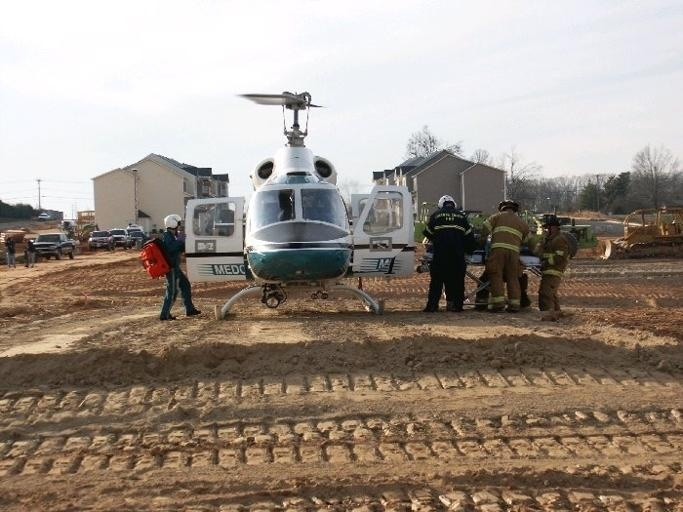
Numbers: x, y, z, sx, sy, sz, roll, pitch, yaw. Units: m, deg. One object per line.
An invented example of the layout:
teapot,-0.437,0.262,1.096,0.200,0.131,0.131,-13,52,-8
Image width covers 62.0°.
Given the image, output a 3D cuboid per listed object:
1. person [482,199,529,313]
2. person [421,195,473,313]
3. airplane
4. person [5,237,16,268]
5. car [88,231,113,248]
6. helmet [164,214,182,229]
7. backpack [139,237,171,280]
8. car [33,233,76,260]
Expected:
person,3.381,0.047,11.683,0.840,2.286,1.029,3,11,19
person,2.221,0.118,11.782,1.016,2.123,0.536,1,11,8
airplane,-1.104,-1.028,11.476,3.866,4.677,4.383,6,12,32
person,-18.561,-0.176,31.765,0.409,1.665,1.586,-7,12,-30
car,-19.788,-1.193,46.622,1.772,1.364,1.223,-3,10,-14
helmet,-3.526,-0.701,11.817,0.464,0.311,0.330,-5,17,-15
backpack,-3.675,0.045,11.167,0.518,0.748,0.389,-2,11,-5
car,-19.064,-0.653,37.738,1.683,1.074,3.089,-1,-1,-6
